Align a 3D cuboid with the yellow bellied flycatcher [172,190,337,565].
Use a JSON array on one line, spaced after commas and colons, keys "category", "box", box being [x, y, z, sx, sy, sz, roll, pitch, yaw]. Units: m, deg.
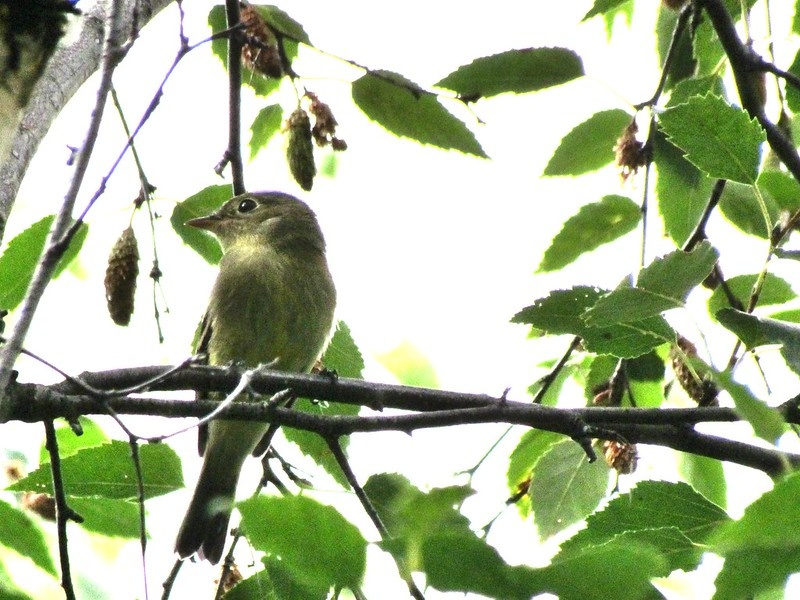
[{"category": "yellow bellied flycatcher", "box": [-0.584, 0.097, 5.152, 0.492, 0.741, 1.885, 6, -86, -3]}]
